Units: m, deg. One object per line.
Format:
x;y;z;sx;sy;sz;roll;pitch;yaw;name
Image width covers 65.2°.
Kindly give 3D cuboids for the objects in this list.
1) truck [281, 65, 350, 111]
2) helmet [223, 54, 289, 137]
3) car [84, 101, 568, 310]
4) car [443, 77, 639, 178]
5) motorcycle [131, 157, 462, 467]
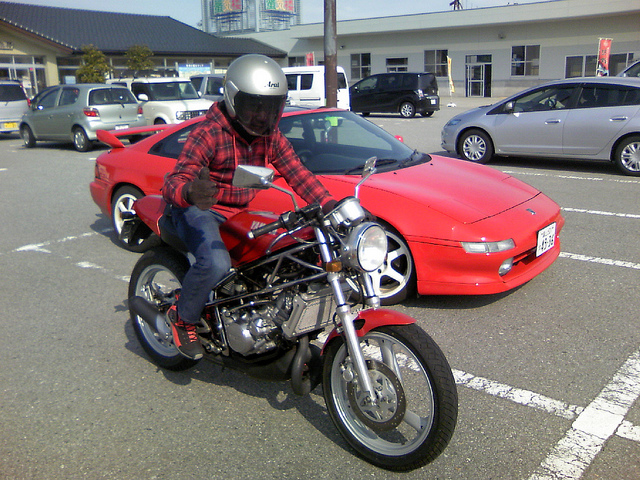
-0.893;-6.708;22.644;4.067;1.912;2.356;14;25;34;truck
-0.398;-0.943;3.153;0.447;0.421;0.490;-8;35;-27;helmet
-0.376;-0.365;5.888;5.550;1.541;2.611;9;20;26;car
4.620;-2.602;10.860;4.149;1.414;2.026;11;22;32;car
-0.389;0.322;3.300;2.731;1.499;1.172;10;8;39;motorcycle
